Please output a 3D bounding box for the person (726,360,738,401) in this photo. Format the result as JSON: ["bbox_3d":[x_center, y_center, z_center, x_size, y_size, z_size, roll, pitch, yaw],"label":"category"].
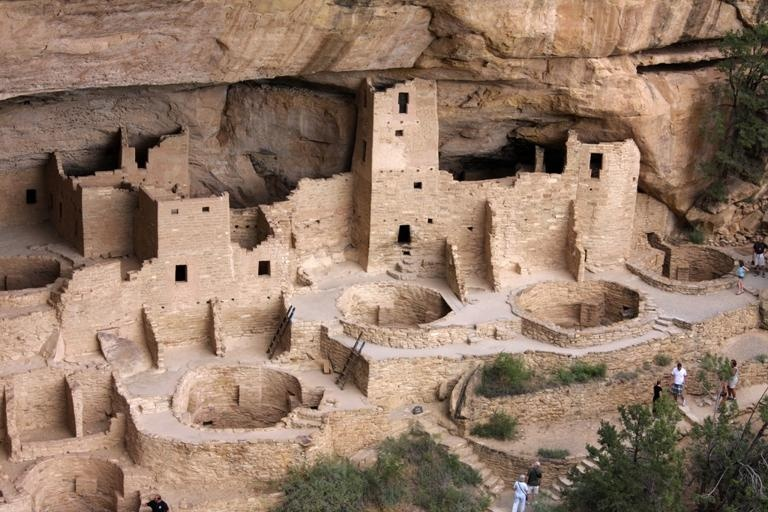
[{"bbox_3d":[11.095,3.891,26.504,0.331,1.141,0.626,5,19,21],"label":"person"}]
